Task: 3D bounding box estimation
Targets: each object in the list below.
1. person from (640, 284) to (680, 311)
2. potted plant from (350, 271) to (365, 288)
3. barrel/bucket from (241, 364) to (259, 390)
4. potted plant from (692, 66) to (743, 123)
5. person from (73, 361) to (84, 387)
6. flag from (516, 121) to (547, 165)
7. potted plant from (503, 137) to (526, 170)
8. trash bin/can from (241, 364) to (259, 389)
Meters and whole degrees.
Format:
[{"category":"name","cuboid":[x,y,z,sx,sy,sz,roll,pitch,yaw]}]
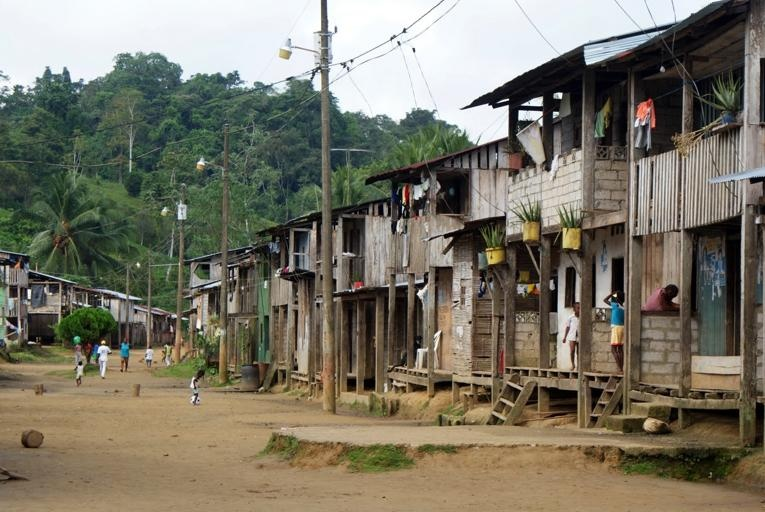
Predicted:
[{"category":"person","cuboid":[7.511,1.143,31.131,0.772,0.511,0.726,-4,-1,12]},{"category":"potted plant","cuboid":[-1.027,0.899,46.391,0.549,0.803,0.574,0,1,0]},{"category":"barrel/bucket","cuboid":[-6.213,5.447,52.382,0.896,1.110,0.930,1,-1,0]},{"category":"potted plant","cuboid":[8.560,-3.879,28.698,0.925,1.216,1.063,-6,9,4]},{"category":"person","cuboid":[-14.204,5.479,53.900,0.322,1.213,0.733,4,5,19]},{"category":"flag","cuboid":[4.546,-3.320,35.161,0.950,1.168,0.076,-18,10,-27]},{"category":"potted plant","cuboid":[4.265,-3.303,36.518,0.597,1.141,0.644,2,-1,-24]},{"category":"trash bin/can","cuboid":[-6.097,5.464,52.655,0.875,1.120,0.924,-1,-2,28]}]
